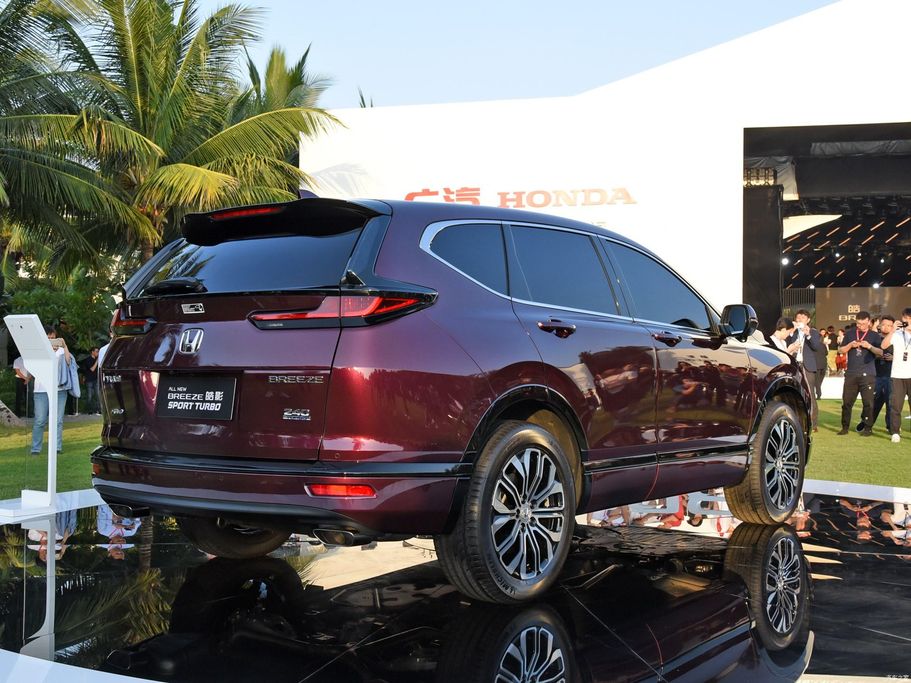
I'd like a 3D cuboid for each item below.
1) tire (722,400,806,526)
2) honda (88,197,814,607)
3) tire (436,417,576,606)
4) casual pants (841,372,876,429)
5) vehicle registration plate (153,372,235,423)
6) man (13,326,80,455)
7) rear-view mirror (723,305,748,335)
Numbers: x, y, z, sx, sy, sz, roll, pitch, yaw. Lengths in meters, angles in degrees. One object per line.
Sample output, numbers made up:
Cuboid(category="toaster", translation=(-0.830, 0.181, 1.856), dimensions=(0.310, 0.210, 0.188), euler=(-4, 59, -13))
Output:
Cuboid(category="tire", translation=(2.690, 1.073, 5.650), dimensions=(0.406, 1.066, 1.247), euler=(-5, -12, 43))
Cuboid(category="honda", translation=(0.542, 0.180, 4.384), dimensions=(4.483, 1.491, 2.233), euler=(-2, 1, -44))
Cuboid(category="tire", translation=(0.260, 0.941, 3.548), dimensions=(0.356, 0.941, 1.102), euler=(-6, -12, 38))
Cuboid(category="casual pants", translation=(8.852, 1.350, 14.125), dimensions=(0.683, 1.300, 0.872), euler=(-3, -6, 29))
Cuboid(category="vehicle registration plate", translation=(-1.295, 0.278, 3.171), dimensions=(0.588, 0.213, 0.060), euler=(-3, -7, 36))
Cuboid(category="man", translation=(-6.951, 0.849, 10.901), dimensions=(0.844, 2.076, 1.217), euler=(-15, -11, 30))
Cuboid(category="rear-view mirror", translation=(2.136, -0.178, 4.919), dimensions=(0.264, 0.209, 0.087), euler=(2, -4, -27))
